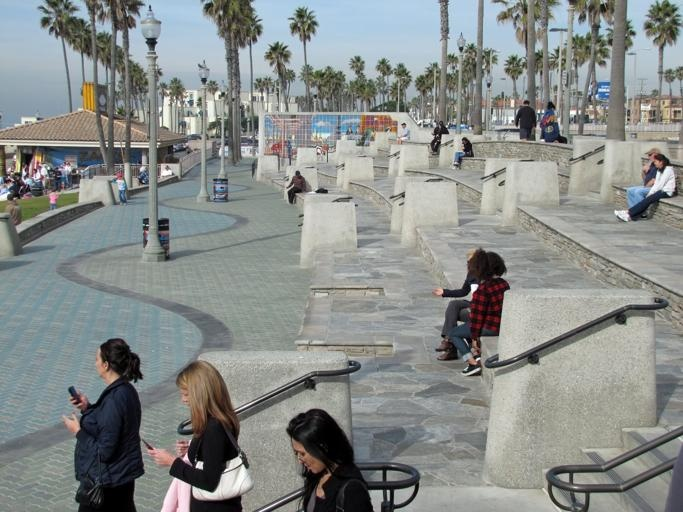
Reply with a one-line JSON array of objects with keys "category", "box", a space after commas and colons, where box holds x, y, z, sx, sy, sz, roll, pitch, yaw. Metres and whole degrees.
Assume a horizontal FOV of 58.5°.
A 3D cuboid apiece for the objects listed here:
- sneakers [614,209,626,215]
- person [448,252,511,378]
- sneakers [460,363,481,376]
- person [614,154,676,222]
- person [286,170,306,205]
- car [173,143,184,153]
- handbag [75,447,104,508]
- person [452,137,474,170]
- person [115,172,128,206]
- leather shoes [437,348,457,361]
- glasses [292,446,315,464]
[{"category": "sneakers", "box": [7.312, -1.141, 16.030, 0.317, 0.149, 0.119, -4, 18, -2]}, {"category": "person", "box": [1.903, 0.824, 8.299, 0.474, 1.828, 0.982, -4, 11, -17]}, {"category": "sneakers", "box": [1.819, 1.588, 8.621, 0.302, 0.154, 0.123, -10, 4, 10]}, {"category": "person", "box": [7.826, -1.731, 15.601, 1.212, 1.723, 0.736, 6, 12, 34]}, {"category": "person", "box": [-2.492, -3.756, 33.474, 1.027, 1.913, 1.058, 0, 10, 2]}, {"category": "car", "box": [-26.074, -17.318, 97.854, 1.569, 1.164, 4.568, -3, 12, -12]}, {"category": "handbag", "box": [-1.849, 1.630, 4.458, 0.187, 0.396, 0.177, -6, 11, -25]}, {"category": "person", "box": [6.538, -5.603, 33.230, 0.960, 1.676, 0.576, 1, 10, 12]}, {"category": "person", "box": [-12.705, -3.796, 35.174, 0.519, 1.590, 2.262, -5, 12, -21]}, {"category": "leather shoes", "box": [1.602, 1.485, 9.252, 0.357, 0.163, 0.120, 3, -4, -34]}, {"category": "glasses", "box": [-0.179, 1.015, 3.117, 0.132, 0.072, 0.102, 11, -10, -19]}]
